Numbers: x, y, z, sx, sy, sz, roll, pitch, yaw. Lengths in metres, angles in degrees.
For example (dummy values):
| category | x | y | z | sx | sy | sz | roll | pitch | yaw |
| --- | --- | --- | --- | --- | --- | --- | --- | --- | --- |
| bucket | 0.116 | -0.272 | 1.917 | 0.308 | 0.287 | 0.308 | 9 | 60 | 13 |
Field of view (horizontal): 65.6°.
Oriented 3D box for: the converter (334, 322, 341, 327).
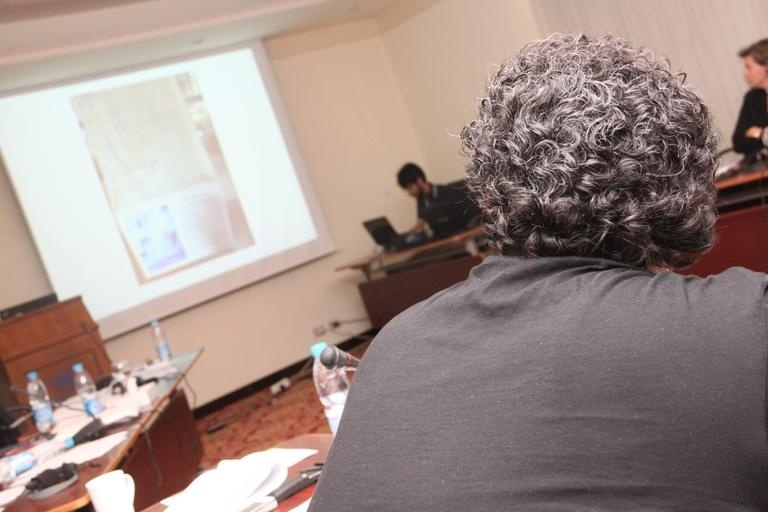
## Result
| category | x | y | z | sx | sy | sz | roll | pitch | yaw |
| --- | --- | --- | --- | --- | --- | --- | --- | --- | --- |
| converter | -0.288 | 0.407 | 3.601 | 0.037 | 0.029 | 0.008 | 5 | -3 | 14 |
